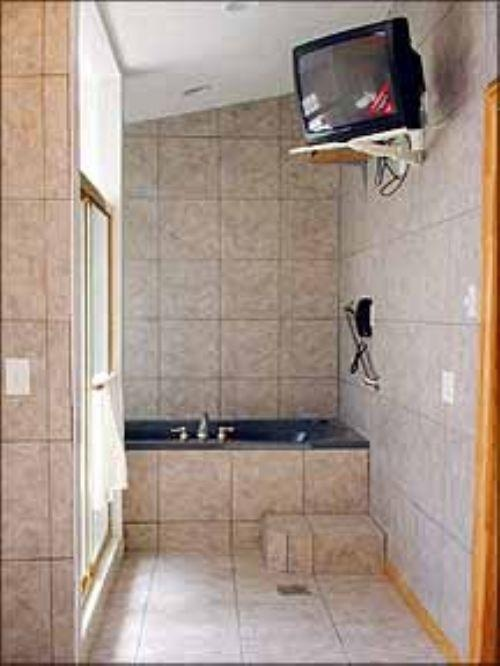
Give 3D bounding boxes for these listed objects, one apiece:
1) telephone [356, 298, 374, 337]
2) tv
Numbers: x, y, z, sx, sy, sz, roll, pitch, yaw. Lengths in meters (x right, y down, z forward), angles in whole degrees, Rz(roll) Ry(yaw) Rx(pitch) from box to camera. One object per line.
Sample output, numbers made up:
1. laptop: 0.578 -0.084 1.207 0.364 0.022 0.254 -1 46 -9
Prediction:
1. telephone: 0.290 -0.041 1.644 0.043 0.098 0.021 2 2 -2
2. tv: 0.249 -0.632 1.625 0.279 0.259 0.180 -4 35 24
